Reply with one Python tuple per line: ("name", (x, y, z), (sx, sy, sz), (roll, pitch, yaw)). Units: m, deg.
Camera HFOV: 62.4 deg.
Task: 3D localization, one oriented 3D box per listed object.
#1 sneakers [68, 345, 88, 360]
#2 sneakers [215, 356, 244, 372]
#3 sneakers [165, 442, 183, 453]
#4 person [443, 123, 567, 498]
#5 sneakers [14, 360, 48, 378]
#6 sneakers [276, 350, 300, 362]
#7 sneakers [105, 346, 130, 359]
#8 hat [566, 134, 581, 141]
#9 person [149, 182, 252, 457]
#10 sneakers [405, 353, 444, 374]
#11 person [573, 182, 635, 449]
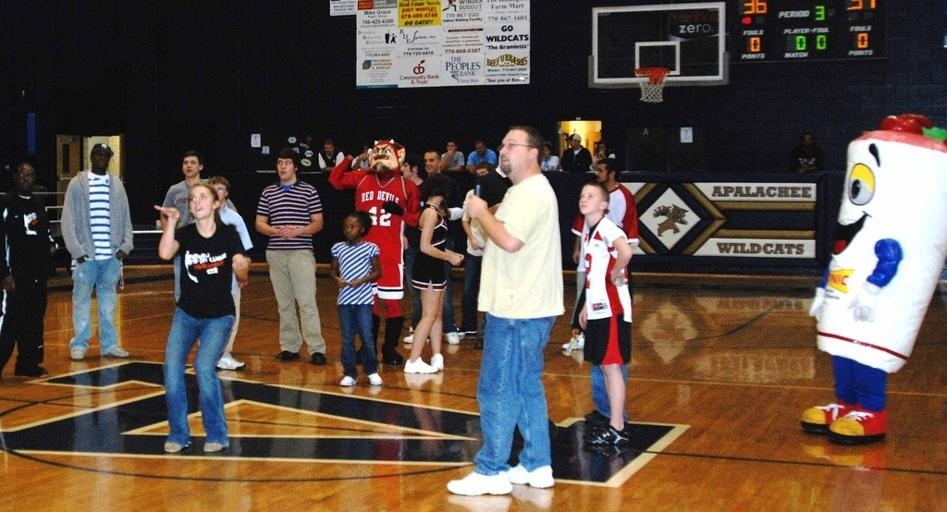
("sneakers", (-5.817, 1.432, 11.505), (0.205, 0.211, 0.182), (2, 47, -5))
("sneakers", (-3.435, 1.541, 11.114), (0.447, 0.168, 0.167), (0, 3, -2))
("sneakers", (-3.329, 2.124, 8.688), (0.196, 0.104, 0.104), (1, 14, 5))
("person", (0.435, 0.560, 8.052), (0.989, 3.692, 1.246), (5, 15, 19))
("sneakers", (-6.134, 1.571, 10.833), (0.396, 0.236, 0.192), (1, 2, -9))
("sneakers", (-2.715, 1.480, 11.554), (0.147, 0.106, 0.282), (-5, -13, 43))
("sneakers", (-5.304, 1.446, 11.676), (0.301, 0.108, 0.174), (1, 2, 2))
("hat", (2.640, -3.152, 20.729), (0.395, 0.129, 0.248), (5, 6, 23))
("person", (-3.027, 0.679, 8.807), (1.023, 2.876, 1.057), (-4, 15, -15))
("sneakers", (-0.643, 1.524, 11.072), (0.664, 0.250, 0.222), (-5, 3, -7))
("person", (1.480, 0.656, 8.848), (0.584, 2.856, 0.889), (2, 14, 5))
